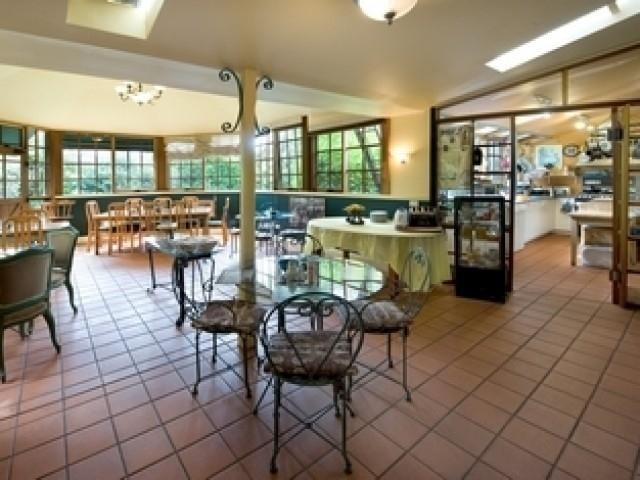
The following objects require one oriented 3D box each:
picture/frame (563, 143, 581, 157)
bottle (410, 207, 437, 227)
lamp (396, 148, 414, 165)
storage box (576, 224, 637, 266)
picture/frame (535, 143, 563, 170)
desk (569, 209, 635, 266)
[{"bbox_3d":[6.109,-2.161,11.157,0.044,0.343,0.328,-3,5,-41],"label":"picture/frame"},{"bbox_3d":[1.243,-0.286,5.561,0.236,0.160,0.241,0,5,0],"label":"bottle"},{"bbox_3d":[1.297,-1.294,7.135,0.228,0.179,0.234,0,-1,13],"label":"lamp"},{"bbox_3d":[4.414,0.099,7.257,0.650,0.884,0.844,4,-3,-45],"label":"storage box"},{"bbox_3d":[5.715,-2.069,11.453,0.655,0.684,0.047,3,3,43],"label":"picture/frame"},{"bbox_3d":[4.288,-0.060,7.218,0.729,0.730,0.751,1,8,19],"label":"desk"}]
